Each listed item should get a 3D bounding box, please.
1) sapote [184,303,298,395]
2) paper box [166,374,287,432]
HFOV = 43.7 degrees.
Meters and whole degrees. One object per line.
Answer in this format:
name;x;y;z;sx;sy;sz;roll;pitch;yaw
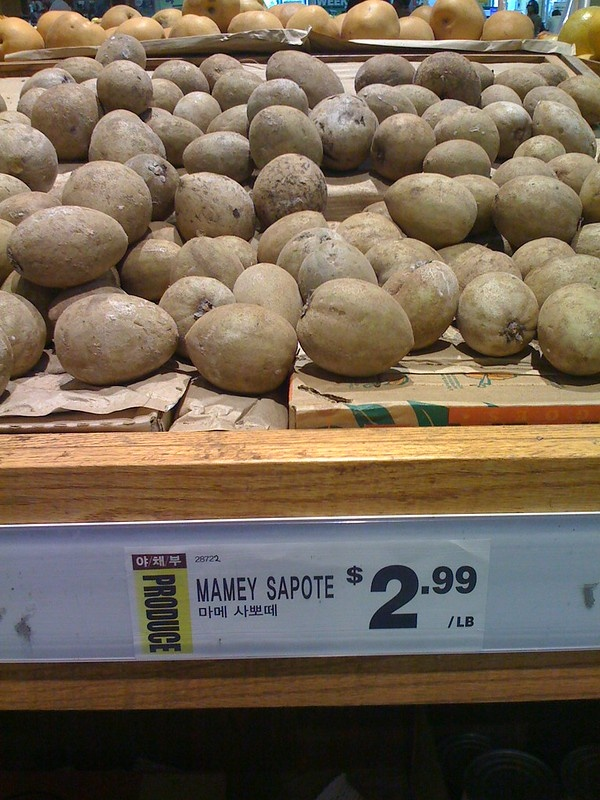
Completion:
sapote;-0.096;-0.100;1.454;0.214;0.147;0.153;4;31;29
paper box;-0.124;0.003;1.332;0.116;0.033;0.109;6;23;10
